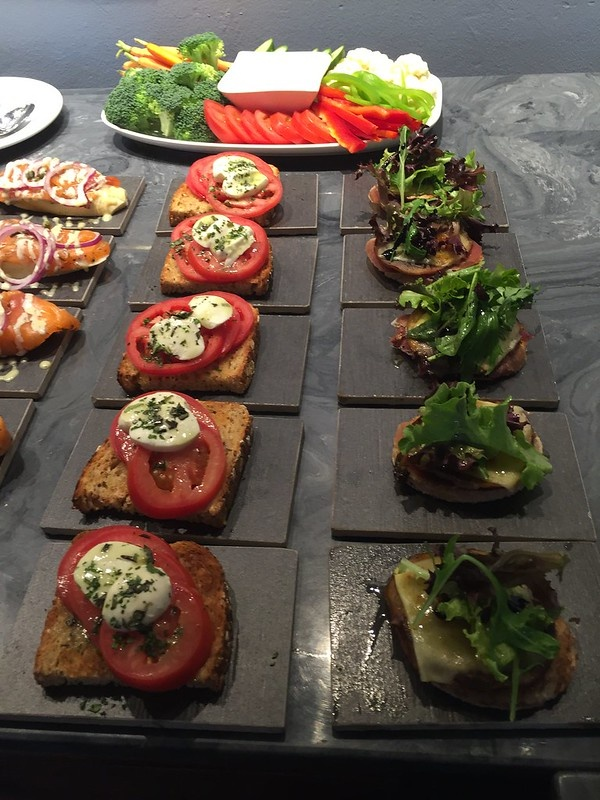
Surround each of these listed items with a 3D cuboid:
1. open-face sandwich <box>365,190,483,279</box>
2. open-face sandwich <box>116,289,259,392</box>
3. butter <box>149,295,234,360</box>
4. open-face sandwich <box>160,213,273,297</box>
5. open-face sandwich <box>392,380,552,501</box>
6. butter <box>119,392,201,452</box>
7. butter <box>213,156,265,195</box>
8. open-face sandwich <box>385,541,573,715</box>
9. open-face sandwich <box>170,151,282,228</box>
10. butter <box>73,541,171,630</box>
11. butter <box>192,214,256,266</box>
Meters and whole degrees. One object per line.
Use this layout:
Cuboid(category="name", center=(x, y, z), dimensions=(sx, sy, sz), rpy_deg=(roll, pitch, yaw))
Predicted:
Cuboid(category="open-face sandwich", center=(0.448, -0.606, 2.410), dimensions=(0.449, 0.276, 0.369), rpy_deg=(8, 46, 16))
Cuboid(category="open-face sandwich", center=(-0.339, -0.142, 2.123), dimensions=(0.425, 0.129, 0.327), rpy_deg=(-23, 45, -15))
Cuboid(category="butter", center=(-0.332, -0.236, 2.057), dimensions=(0.254, 0.047, 0.183), rpy_deg=(-33, 58, -18))
Cuboid(category="open-face sandwich", center=(-0.292, -0.528, 2.375), dimensions=(0.413, 0.122, 0.323), rpy_deg=(0, 66, 0))
Cuboid(category="open-face sandwich", center=(0.426, 0.128, 1.668), dimensions=(0.395, 0.193, 0.344), rpy_deg=(-3, 36, 2))
Cuboid(category="butter", center=(-0.378, 0.059, 1.763), dimensions=(0.197, 0.070, 0.223), rpy_deg=(-23, 45, -16))
Cuboid(category="butter", center=(-0.245, -0.927, 2.729), dimensions=(0.213, 0.050, 0.193), rpy_deg=(-22, 54, -23))
Cuboid(category="open-face sandwich", center=(0.385, 0.451, 1.417), dimensions=(0.387, 0.139, 0.441), rpy_deg=(9, 23, 9))
Cuboid(category="open-face sandwich", center=(-0.302, -0.903, 2.767), dimensions=(0.413, 0.127, 0.397), rpy_deg=(3, 48, 8))
Cuboid(category="butter", center=(-0.378, 0.387, 1.406), dimensions=(0.166, 0.067, 0.196), rpy_deg=(-24, 41, -25))
Cuboid(category="butter", center=(-0.292, -0.611, 2.458), dimensions=(0.192, 0.105, 0.261), rpy_deg=(-37, 50, -27))
